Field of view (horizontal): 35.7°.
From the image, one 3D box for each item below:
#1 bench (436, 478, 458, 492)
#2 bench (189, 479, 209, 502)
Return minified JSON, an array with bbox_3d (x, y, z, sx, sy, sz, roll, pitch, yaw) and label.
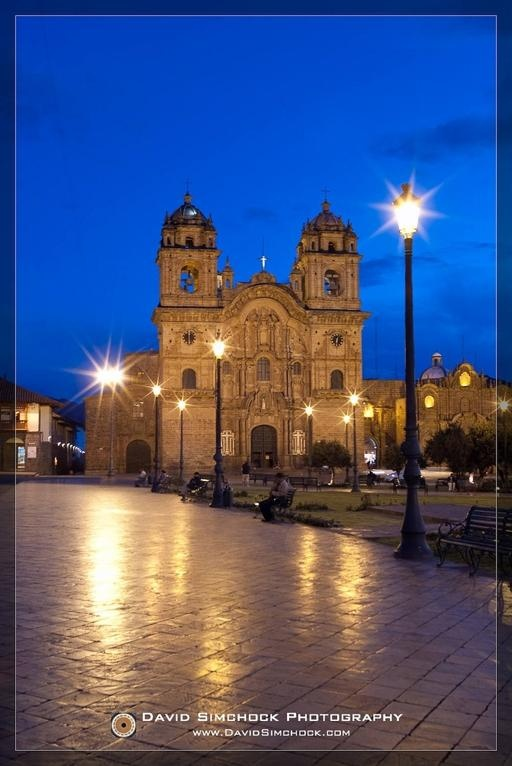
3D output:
[{"bbox_3d":[10.044,5.282,41.568,0.828,0.717,2.084,-8,-2,11],"label":"bench"},{"bbox_3d":[-2.192,4.027,31.678,0.763,1.172,1.167,1,-3,-10],"label":"bench"}]
